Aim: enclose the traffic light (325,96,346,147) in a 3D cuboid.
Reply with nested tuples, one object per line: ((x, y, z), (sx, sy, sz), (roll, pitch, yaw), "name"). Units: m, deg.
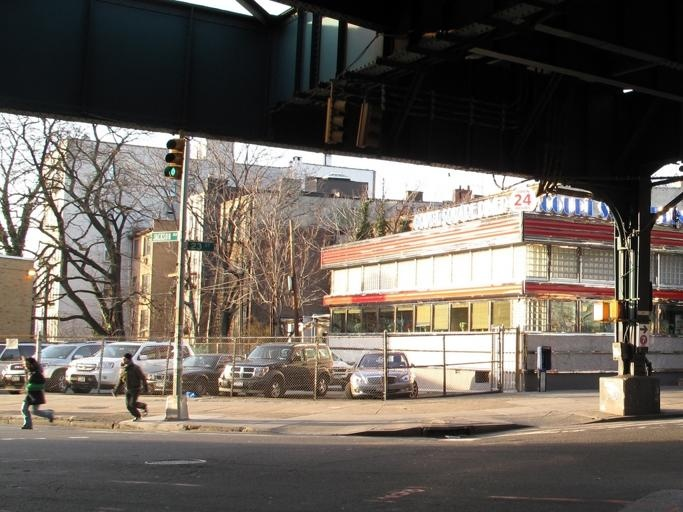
((-0.115, -3.219, 24.602), (0.471, 1.062, 0.736), (0, -7, -3), "traffic light")

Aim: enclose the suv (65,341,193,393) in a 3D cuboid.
((-8.370, 3.638, 38.672), (4.982, 1.957, 2.494), (9, -15, -44), "suv")

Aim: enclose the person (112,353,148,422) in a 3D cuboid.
((-6.034, 3.835, 29.695), (1.006, 1.994, 0.651), (-3, 3, -12), "person")

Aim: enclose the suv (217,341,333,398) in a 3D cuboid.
((-2.037, 3.945, 35.855), (1.830, 1.721, 4.582), (-1, -3, 21), "suv")

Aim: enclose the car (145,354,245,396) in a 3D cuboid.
((-5.271, 4.449, 37.788), (2.764, 1.609, 2.593), (0, -3, -40), "car")

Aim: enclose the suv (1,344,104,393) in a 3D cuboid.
((-11.083, 4.282, 40.265), (1.689, 1.312, 3.170), (-4, -11, 24), "suv")

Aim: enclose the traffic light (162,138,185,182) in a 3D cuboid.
((-4.510, -2.739, 28.211), (0.532, 1.248, 1.995), (1, -7, -9), "traffic light")

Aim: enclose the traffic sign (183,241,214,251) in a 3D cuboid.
((-3.923, -0.280, 28.760), (0.913, 0.301, 0.328), (-5, -8, 33), "traffic sign")
